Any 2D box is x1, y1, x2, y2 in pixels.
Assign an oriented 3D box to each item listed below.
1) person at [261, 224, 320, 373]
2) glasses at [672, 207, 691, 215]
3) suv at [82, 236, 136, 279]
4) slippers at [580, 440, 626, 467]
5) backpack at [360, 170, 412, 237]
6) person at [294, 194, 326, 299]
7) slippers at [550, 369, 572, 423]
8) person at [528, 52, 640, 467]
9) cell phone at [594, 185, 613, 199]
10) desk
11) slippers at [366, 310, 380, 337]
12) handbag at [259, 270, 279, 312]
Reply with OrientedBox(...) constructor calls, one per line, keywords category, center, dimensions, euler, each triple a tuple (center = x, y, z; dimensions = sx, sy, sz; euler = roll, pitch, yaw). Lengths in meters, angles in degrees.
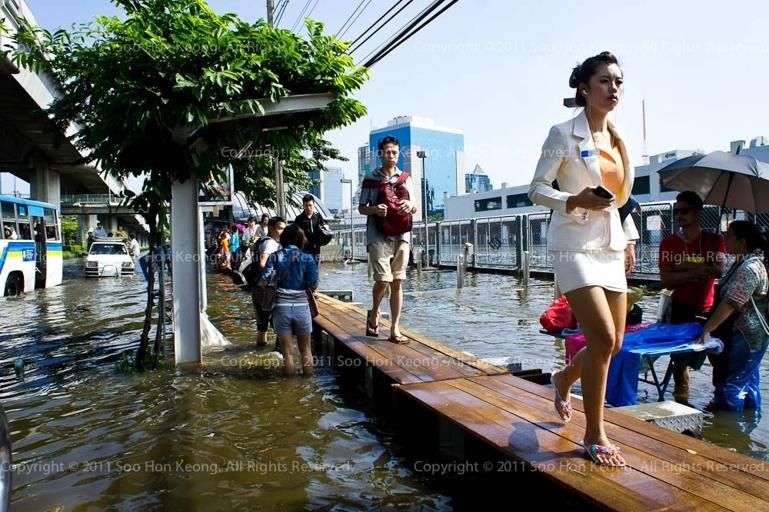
OrientedBox(category="person", center=(-1.288, 0.641, 7.301), dimensions=(0.736, 2.152, 0.372), euler=(-1, 5, -11))
OrientedBox(category="glasses", center=(3.693, -0.565, 6.405), dimensions=(0.116, 0.043, 0.112), euler=(6, -6, -18))
OrientedBox(category="suv", center=(-14.023, -0.039, 26.505), dimensions=(2.139, 1.617, 3.671), euler=(2, 10, -31))
OrientedBox(category="slippers", center=(1.661, 1.480, 3.927), dimensions=(0.298, 0.141, 0.160), euler=(2, 6, 28))
OrientedBox(category="backpack", center=(0.083, -0.689, 6.926), dimensions=(0.774, 0.878, 0.489), euler=(-3, 10, -18))
OrientedBox(category="person", center=(-1.222, -0.232, 8.690), dimensions=(0.527, 1.444, 0.461), euler=(1, 0, -14))
OrientedBox(category="slippers", center=(1.524, 1.228, 4.466), dimensions=(0.178, 0.469, 0.138), euler=(-13, 7, -31))
OrientedBox(category="person", center=(1.523, -0.013, 4.082), dimensions=(0.738, 3.087, 0.573), euler=(1, 5, 23))
OrientedBox(category="cell phone", center=(1.569, -0.447, 3.724), dimensions=(0.093, 0.022, 0.093), euler=(39, -29, 14))
OrientedBox(category="desk", center=(3.033, 1.101, 6.022), dimensions=(1.187, 0.537, 1.483), euler=(-9, 4, -29))
OrientedBox(category="slippers", center=(-0.174, 1.003, 7.630), dimensions=(0.137, 0.401, 0.103), euler=(-5, -1, 11))
OrientedBox(category="handbag", center=(-1.588, 0.503, 7.170), dimensions=(0.206, 0.543, 0.233), euler=(-2, 5, -21))
